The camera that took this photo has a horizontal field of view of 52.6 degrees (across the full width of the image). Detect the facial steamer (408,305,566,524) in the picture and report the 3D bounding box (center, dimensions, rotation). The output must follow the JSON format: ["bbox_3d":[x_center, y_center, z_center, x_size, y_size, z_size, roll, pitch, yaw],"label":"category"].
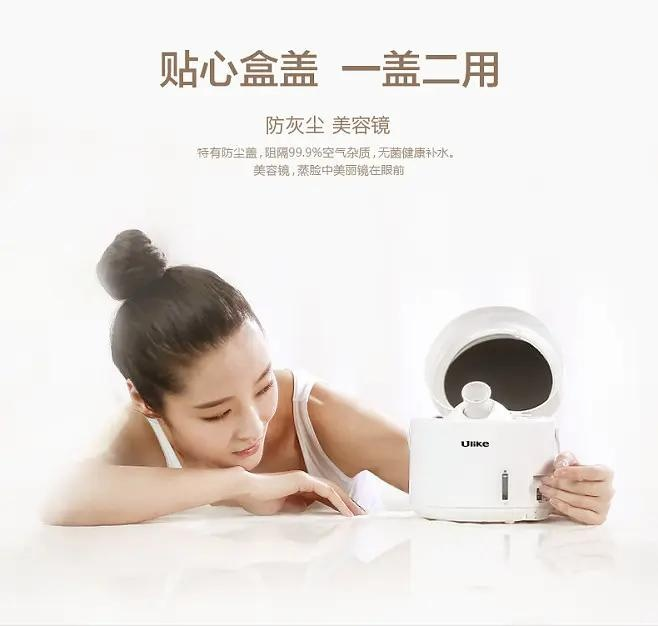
[{"bbox_3d":[0.392,0.232,1.647,0.358,0.521,0.410,-2,-4,19],"label":"facial steamer"}]
